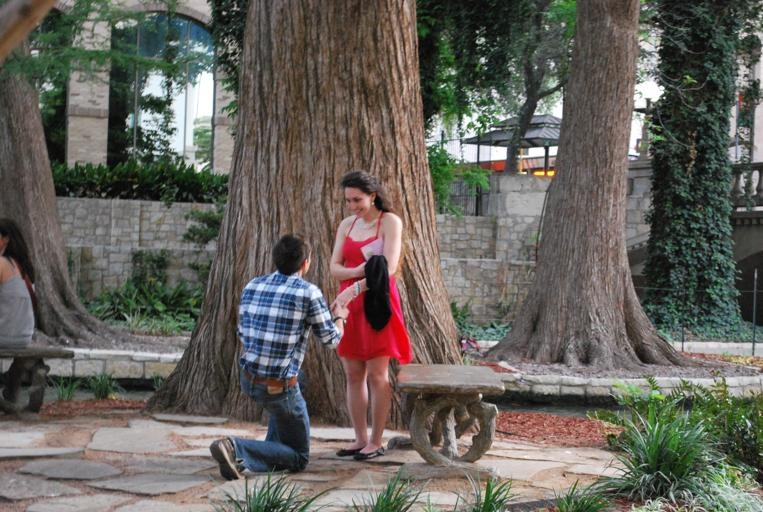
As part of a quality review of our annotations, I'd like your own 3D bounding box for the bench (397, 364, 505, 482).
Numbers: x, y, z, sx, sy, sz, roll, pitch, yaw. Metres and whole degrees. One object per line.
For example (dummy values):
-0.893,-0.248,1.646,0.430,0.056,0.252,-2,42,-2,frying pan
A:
0.957,2.120,14.812,1.197,1.062,2.242,0,1,-5,bench
